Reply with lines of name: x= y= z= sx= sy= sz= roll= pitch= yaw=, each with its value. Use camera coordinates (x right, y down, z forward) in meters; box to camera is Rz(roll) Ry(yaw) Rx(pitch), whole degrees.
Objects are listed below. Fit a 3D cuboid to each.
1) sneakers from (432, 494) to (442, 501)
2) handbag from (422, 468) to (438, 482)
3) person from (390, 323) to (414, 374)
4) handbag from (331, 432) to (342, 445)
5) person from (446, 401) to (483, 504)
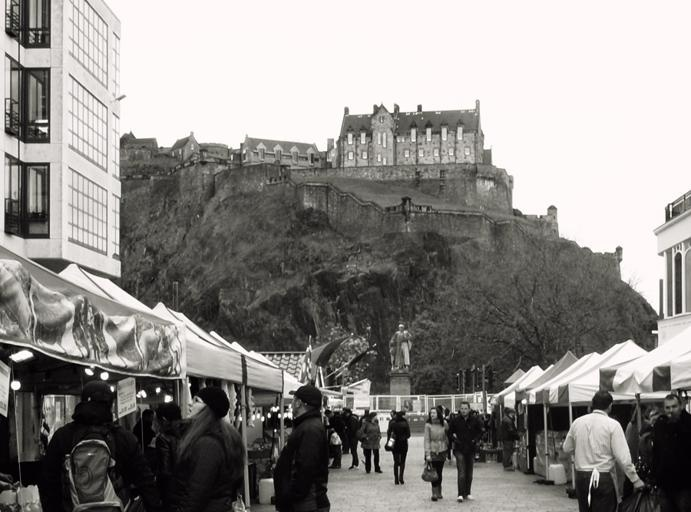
sneakers: x=1.798 y=4.797 z=26.559 sx=0.075 sy=0.104 sz=0.212 roll=6 pitch=13 yaw=44
handbag: x=1.670 y=4.327 z=26.456 sx=0.267 sy=0.321 sz=0.136 roll=-2 pitch=-15 yaw=11
person: x=2.876 y=4.787 z=69.687 sx=0.958 sy=2.493 sz=0.742 roll=-4 pitch=-29 yaw=7
handbag: x=-0.230 y=4.766 z=34.063 sx=0.252 sy=0.506 sz=0.484 roll=-2 pitch=-4 yaw=3
person: x=2.335 y=3.874 z=26.525 sx=0.641 sy=2.017 sz=1.388 roll=1 pitch=-10 yaw=5
